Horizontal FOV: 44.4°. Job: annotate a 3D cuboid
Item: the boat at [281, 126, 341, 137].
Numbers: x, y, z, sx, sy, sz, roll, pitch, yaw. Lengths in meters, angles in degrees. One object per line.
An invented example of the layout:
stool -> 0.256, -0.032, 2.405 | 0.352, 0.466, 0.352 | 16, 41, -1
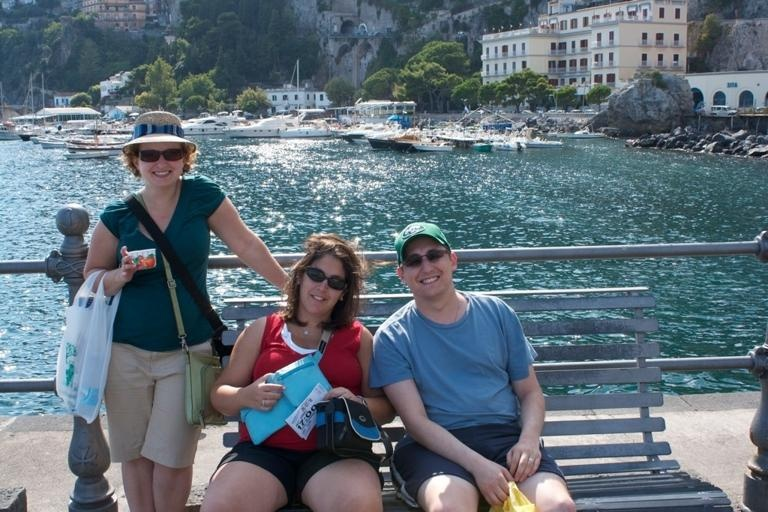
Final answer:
boat -> -7.195, -11.386, 86.871 | 3.720, 0.702, 1.845 | -2, 13, -8

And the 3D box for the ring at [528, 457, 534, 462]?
ring -> 1.029, 1.440, 6.639 | 0.029, 0.027, 0.008 | -5, -32, 9

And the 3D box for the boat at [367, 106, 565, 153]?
boat -> 6.248, -10.063, 74.182 | 14.516, 3.453, 30.079 | 0, 7, 4

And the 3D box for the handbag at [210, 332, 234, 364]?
handbag -> -1.196, 0.685, 6.990 | 0.237, 0.214, 0.062 | 19, -9, -30

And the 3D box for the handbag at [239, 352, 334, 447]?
handbag -> -0.663, 1.045, 6.809 | 0.668, 0.500, 0.236 | -32, -8, 6

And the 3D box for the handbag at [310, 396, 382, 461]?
handbag -> -0.209, 1.198, 6.734 | 0.375, 0.518, 0.636 | -14, -16, 41

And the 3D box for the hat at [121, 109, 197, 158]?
hat -> -1.645, -0.922, 6.872 | 0.367, 0.182, 0.360 | -2, -9, -4

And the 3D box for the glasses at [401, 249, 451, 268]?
glasses -> 0.300, 0.013, 6.898 | 0.189, 0.054, 0.185 | -16, -14, -1

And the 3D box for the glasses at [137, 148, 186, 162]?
glasses -> -1.633, -0.731, 6.864 | 0.283, 0.102, 0.073 | -1, 7, -2
